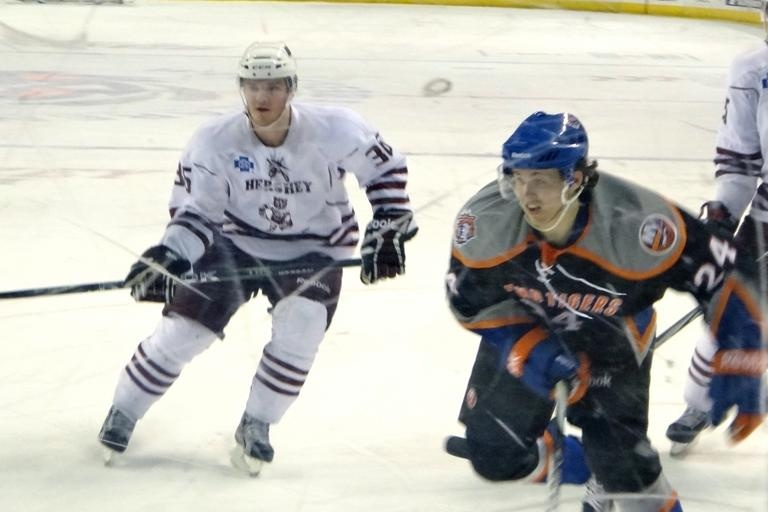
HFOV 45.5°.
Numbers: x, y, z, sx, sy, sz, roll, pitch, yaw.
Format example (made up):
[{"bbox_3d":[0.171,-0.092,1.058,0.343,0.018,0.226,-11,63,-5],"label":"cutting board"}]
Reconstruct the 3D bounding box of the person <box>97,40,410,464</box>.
[{"bbox_3d":[-0.422,-0.031,3.436,1.054,1.505,0.680,7,15,1],"label":"person"}]

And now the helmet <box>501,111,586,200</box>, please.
[{"bbox_3d":[0.497,-0.324,2.858,0.222,0.250,0.282,23,27,35],"label":"helmet"}]

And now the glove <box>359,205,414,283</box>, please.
[{"bbox_3d":[0.006,-0.053,3.542,0.214,0.257,0.078,2,-22,16],"label":"glove"}]

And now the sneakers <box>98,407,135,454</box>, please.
[{"bbox_3d":[-0.988,0.643,3.374,0.110,0.118,0.150,7,14,2],"label":"sneakers"}]

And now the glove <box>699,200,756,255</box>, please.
[{"bbox_3d":[1.209,-0.103,3.242,0.104,0.079,0.245,-27,-47,36],"label":"glove"}]

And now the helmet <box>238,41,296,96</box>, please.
[{"bbox_3d":[-0.439,-0.724,3.536,0.229,0.232,0.258,5,16,12],"label":"helmet"}]

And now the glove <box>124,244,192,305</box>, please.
[{"bbox_3d":[-0.833,0.067,3.374,0.179,0.081,0.235,10,13,26],"label":"glove"}]
